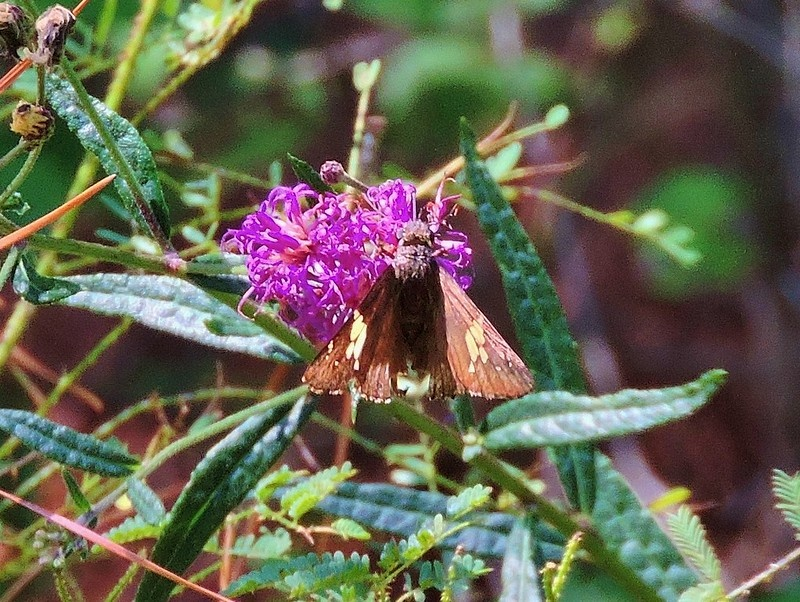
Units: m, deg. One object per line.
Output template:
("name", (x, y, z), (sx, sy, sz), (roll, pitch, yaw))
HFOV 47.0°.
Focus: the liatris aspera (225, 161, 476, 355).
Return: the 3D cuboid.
("liatris aspera", (-0.113, -0.116, 2.007), (0.471, 0.354, 0.230), (-16, 27, -2))
